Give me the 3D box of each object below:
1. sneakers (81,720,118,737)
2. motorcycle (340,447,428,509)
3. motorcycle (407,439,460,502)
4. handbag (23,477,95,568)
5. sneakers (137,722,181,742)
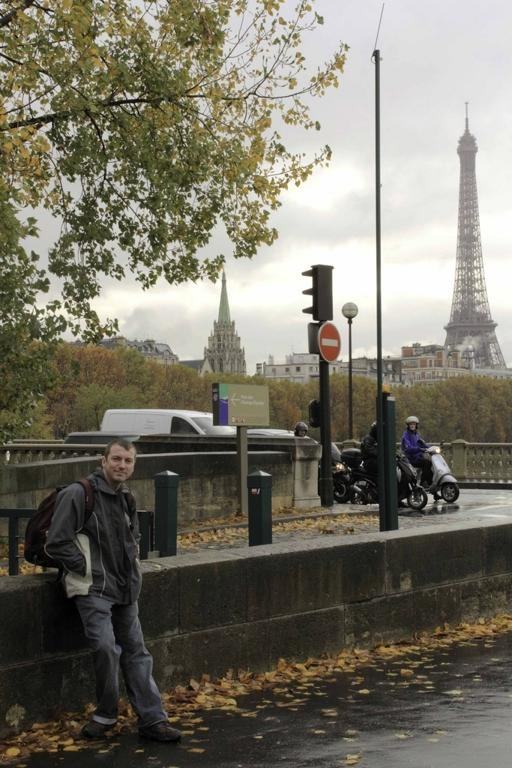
[{"bbox_3d":[-0.789,1.724,5.971,0.164,0.083,0.068,1,13,-4],"label":"sneakers"},{"bbox_3d":[1.834,1.405,17.354,1.344,0.898,0.566,-3,-8,29],"label":"motorcycle"},{"bbox_3d":[2.538,1.334,18.266,1.225,0.833,0.543,2,0,42],"label":"motorcycle"},{"bbox_3d":[-0.977,0.742,6.121,0.364,0.434,0.298,-5,-14,19],"label":"handbag"},{"bbox_3d":[-0.475,1.737,5.988,0.224,0.134,0.083,-1,0,6],"label":"sneakers"}]
